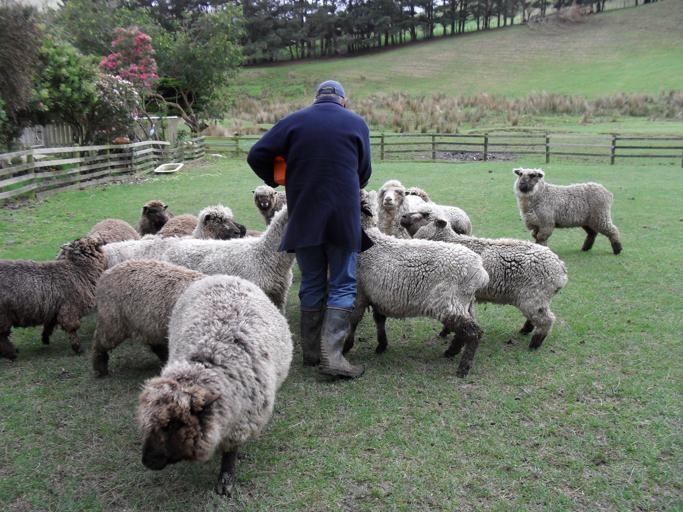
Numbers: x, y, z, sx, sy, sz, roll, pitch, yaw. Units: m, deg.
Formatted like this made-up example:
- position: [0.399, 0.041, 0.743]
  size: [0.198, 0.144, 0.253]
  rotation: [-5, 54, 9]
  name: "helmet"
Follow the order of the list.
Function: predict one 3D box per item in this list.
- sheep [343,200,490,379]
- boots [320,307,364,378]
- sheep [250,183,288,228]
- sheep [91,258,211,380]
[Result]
- position: [0.624, 0.394, 5.969]
  size: [2.198, 1.786, 0.862]
  rotation: [7, 4, 29]
  name: "sheep"
- position: [-0.015, 0.930, 5.201]
  size: [0.449, 0.769, 0.270]
  rotation: [-4, 17, 2]
  name: "boots"
- position: [-1.337, -0.899, 9.220]
  size: [0.423, 0.698, 1.182]
  rotation: [0, 9, 5]
  name: "sheep"
- position: [-1.864, 0.656, 5.365]
  size: [1.479, 1.038, 0.672]
  rotation: [-2, 0, 2]
  name: "sheep"
